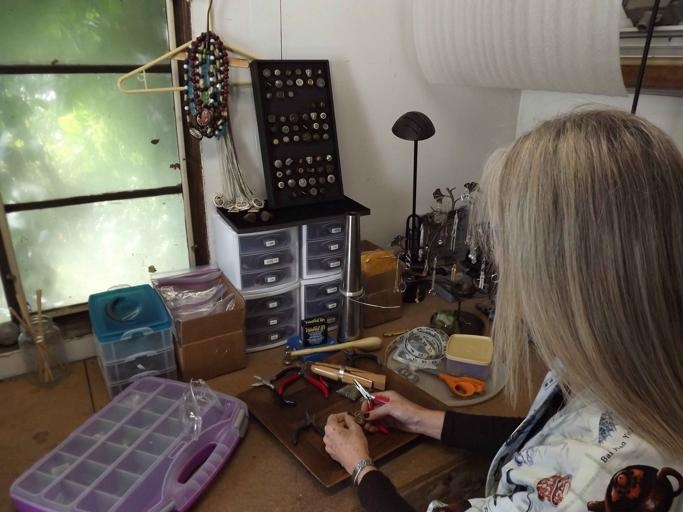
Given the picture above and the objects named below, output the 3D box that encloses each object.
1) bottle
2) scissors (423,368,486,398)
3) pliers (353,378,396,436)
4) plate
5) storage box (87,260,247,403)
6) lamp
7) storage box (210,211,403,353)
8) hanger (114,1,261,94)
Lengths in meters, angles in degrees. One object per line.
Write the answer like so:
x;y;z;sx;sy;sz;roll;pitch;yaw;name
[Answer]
-0.822;0.265;1.367;0.122;0.227;0.119;5;33;-3;bottle
0.308;0.333;1.335;0.122;0.051;0.124;8;13;3;scissors
0.063;0.361;1.263;0.026;0.089;0.217;44;6;38;pliers
0.008;0.401;1.194;0.419;0.063;0.310;-9;26;-32;plate
-0.475;0.204;1.400;0.377;0.252;0.268;-15;22;-27;storage box
0.216;-0.145;1.580;0.192;0.616;0.182;-9;22;-21;lamp
-0.080;0.010;1.596;0.552;0.569;0.373;-11;21;-29;storage box
-0.433;-0.578;1.387;0.391;0.235;0.105;-12;21;-22;hanger
